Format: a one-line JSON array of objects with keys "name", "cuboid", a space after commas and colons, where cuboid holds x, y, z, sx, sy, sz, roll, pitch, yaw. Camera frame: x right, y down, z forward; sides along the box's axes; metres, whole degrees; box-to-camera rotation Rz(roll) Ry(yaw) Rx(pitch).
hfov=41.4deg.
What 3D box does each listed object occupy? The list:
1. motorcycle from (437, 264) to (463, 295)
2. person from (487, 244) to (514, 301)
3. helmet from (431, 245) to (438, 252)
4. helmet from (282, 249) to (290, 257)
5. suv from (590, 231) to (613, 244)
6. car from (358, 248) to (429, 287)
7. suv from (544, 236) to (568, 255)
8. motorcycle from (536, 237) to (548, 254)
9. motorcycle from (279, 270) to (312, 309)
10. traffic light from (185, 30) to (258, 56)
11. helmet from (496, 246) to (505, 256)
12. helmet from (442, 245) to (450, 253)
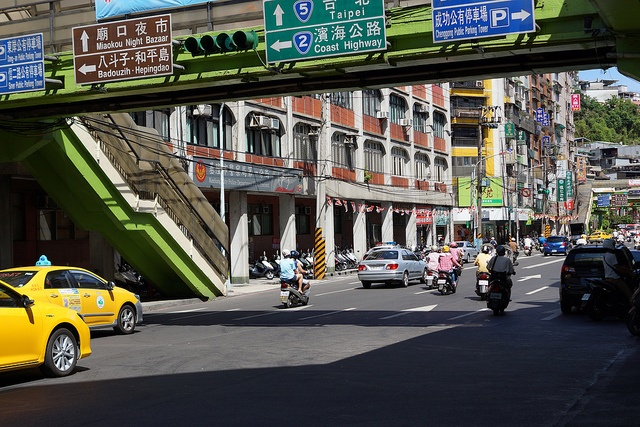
[{"name": "motorcycle", "cuboid": [4.930, 2.703, 33.114, 0.478, 0.963, 0.992, -1, 3, 33]}, {"name": "person", "cuboid": [5.745, 1.651, 27.262, 0.854, 1.026, 1.523, 3, 8, 11]}, {"name": "helmet", "cuboid": [4.596, 1.420, 34.032, 0.188, 0.235, 0.247, 2, 5, 8]}, {"name": "helmet", "cuboid": [-1.305, 1.460, 31.505, 0.237, 0.309, 0.308, 3, 7, 22]}, {"name": "suv", "cuboid": [21.622, 1.795, 65.427, 1.852, 0.915, 1.389, 3, -3, 2]}, {"name": "car", "cuboid": [3.471, 2.464, 39.664, 2.146, 1.575, 5.075, -2, -2, 26]}, {"name": "suv", "cuboid": [17.547, 2.382, 63.025, 1.611, 1.313, 2.861, 0, 2, 19]}, {"name": "motorcycle", "cuboid": [18.812, 2.727, 71.827, 1.162, 1.423, 2.382, 3, 7, 11]}, {"name": "motorcycle", "cuboid": [-0.966, 2.925, 31.009, 0.657, 0.987, 1.457, -1, 3, 28]}, {"name": "traffic light", "cuboid": [-2.766, -4.803, 23.678, 1.975, 0.554, 0.684, -2, 2, 5]}, {"name": "helmet", "cuboid": [5.767, 1.188, 27.022, 0.257, 0.319, 0.323, 4, -7, 9]}, {"name": "helmet", "cuboid": [5.007, 1.397, 33.529, 0.242, 0.319, 0.330, -2, -11, 3]}]
